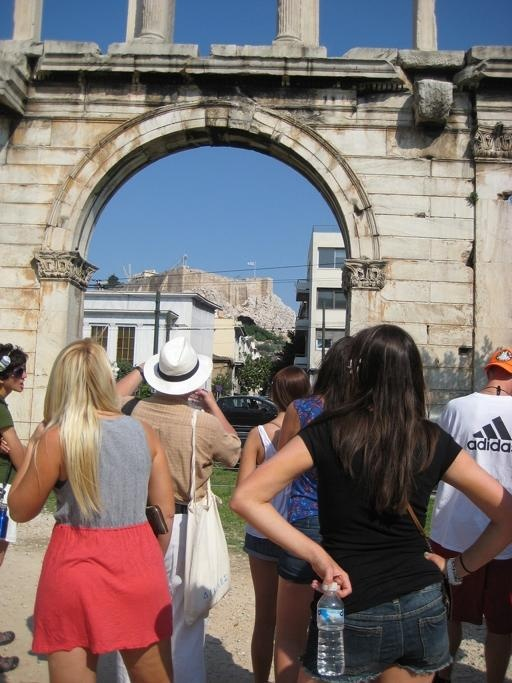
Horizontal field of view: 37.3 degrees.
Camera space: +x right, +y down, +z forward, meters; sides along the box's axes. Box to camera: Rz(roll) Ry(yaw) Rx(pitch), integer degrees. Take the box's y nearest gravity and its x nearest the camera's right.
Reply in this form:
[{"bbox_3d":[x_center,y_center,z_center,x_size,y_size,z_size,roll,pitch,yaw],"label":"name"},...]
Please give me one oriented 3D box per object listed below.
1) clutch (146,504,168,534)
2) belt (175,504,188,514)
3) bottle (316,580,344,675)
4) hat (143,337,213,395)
[{"bbox_3d":[-0.424,0.762,3.268,0.117,0.106,0.028,3,17,44],"label":"clutch"},{"bbox_3d":[-0.385,0.861,3.887,0.060,0.049,0.014,3,-10,-11],"label":"belt"},{"bbox_3d":[0.248,0.979,2.554,0.096,0.341,0.164,1,-8,7],"label":"bottle"},{"bbox_3d":[-0.427,0.130,4.093,0.376,0.353,0.402,2,-8,-7],"label":"hat"}]
